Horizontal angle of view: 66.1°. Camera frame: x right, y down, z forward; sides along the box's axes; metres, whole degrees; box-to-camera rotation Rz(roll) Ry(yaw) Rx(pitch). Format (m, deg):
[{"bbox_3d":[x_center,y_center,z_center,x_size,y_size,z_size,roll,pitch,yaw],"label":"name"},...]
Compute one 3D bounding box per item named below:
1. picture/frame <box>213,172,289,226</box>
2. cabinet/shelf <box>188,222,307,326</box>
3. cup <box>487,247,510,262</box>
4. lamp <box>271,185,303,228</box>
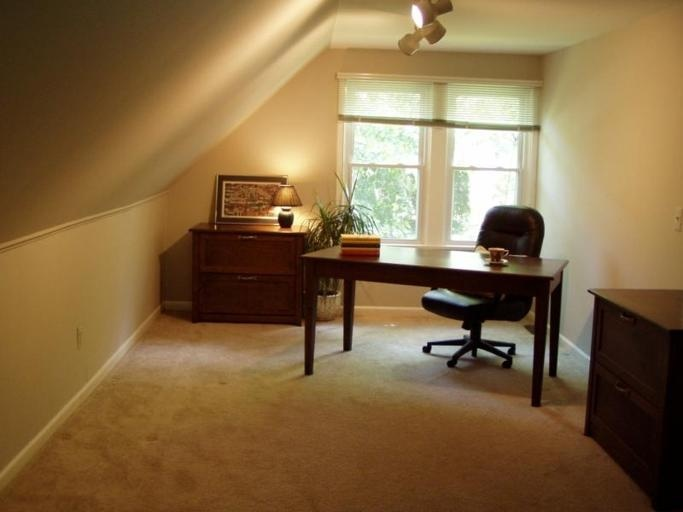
[{"bbox_3d":[-0.889,-0.541,5.117,0.520,0.381,0.021,1,-3,-4],"label":"picture/frame"},{"bbox_3d":[-0.849,0.192,4.773,0.911,0.804,0.413,1,2,1],"label":"cabinet/shelf"},{"bbox_3d":[1.076,-0.002,3.587,0.115,0.101,0.141,0,-5,4],"label":"cup"},{"bbox_3d":[-0.525,-0.474,5.011,0.266,0.399,0.331,1,10,-5],"label":"lamp"}]
